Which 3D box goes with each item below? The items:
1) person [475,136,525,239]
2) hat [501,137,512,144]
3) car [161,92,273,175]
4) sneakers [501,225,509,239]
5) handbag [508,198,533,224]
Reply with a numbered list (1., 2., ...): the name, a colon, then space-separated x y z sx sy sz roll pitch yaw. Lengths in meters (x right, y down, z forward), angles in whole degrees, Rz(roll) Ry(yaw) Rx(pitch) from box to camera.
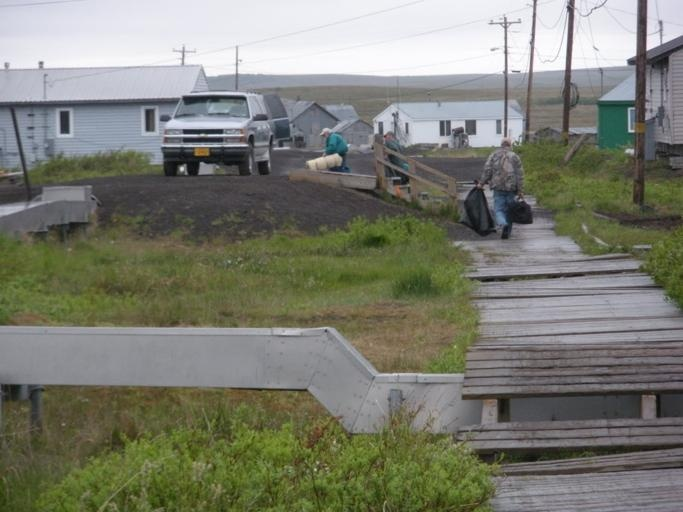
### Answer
1. person: 2.949 -1.219 18.676 0.751 1.908 0.644 1 12 9
2. hat: 3.043 -2.123 18.558 0.111 0.152 0.157 0 -2 1
3. car: -2.750 -2.954 23.961 1.505 1.417 2.882 0 4 7
4. sneakers: 3.099 -0.456 19.073 0.091 0.311 0.118 2 -2 -1
5. handbag: 3.349 -0.851 18.771 0.467 0.569 0.342 1 5 20
